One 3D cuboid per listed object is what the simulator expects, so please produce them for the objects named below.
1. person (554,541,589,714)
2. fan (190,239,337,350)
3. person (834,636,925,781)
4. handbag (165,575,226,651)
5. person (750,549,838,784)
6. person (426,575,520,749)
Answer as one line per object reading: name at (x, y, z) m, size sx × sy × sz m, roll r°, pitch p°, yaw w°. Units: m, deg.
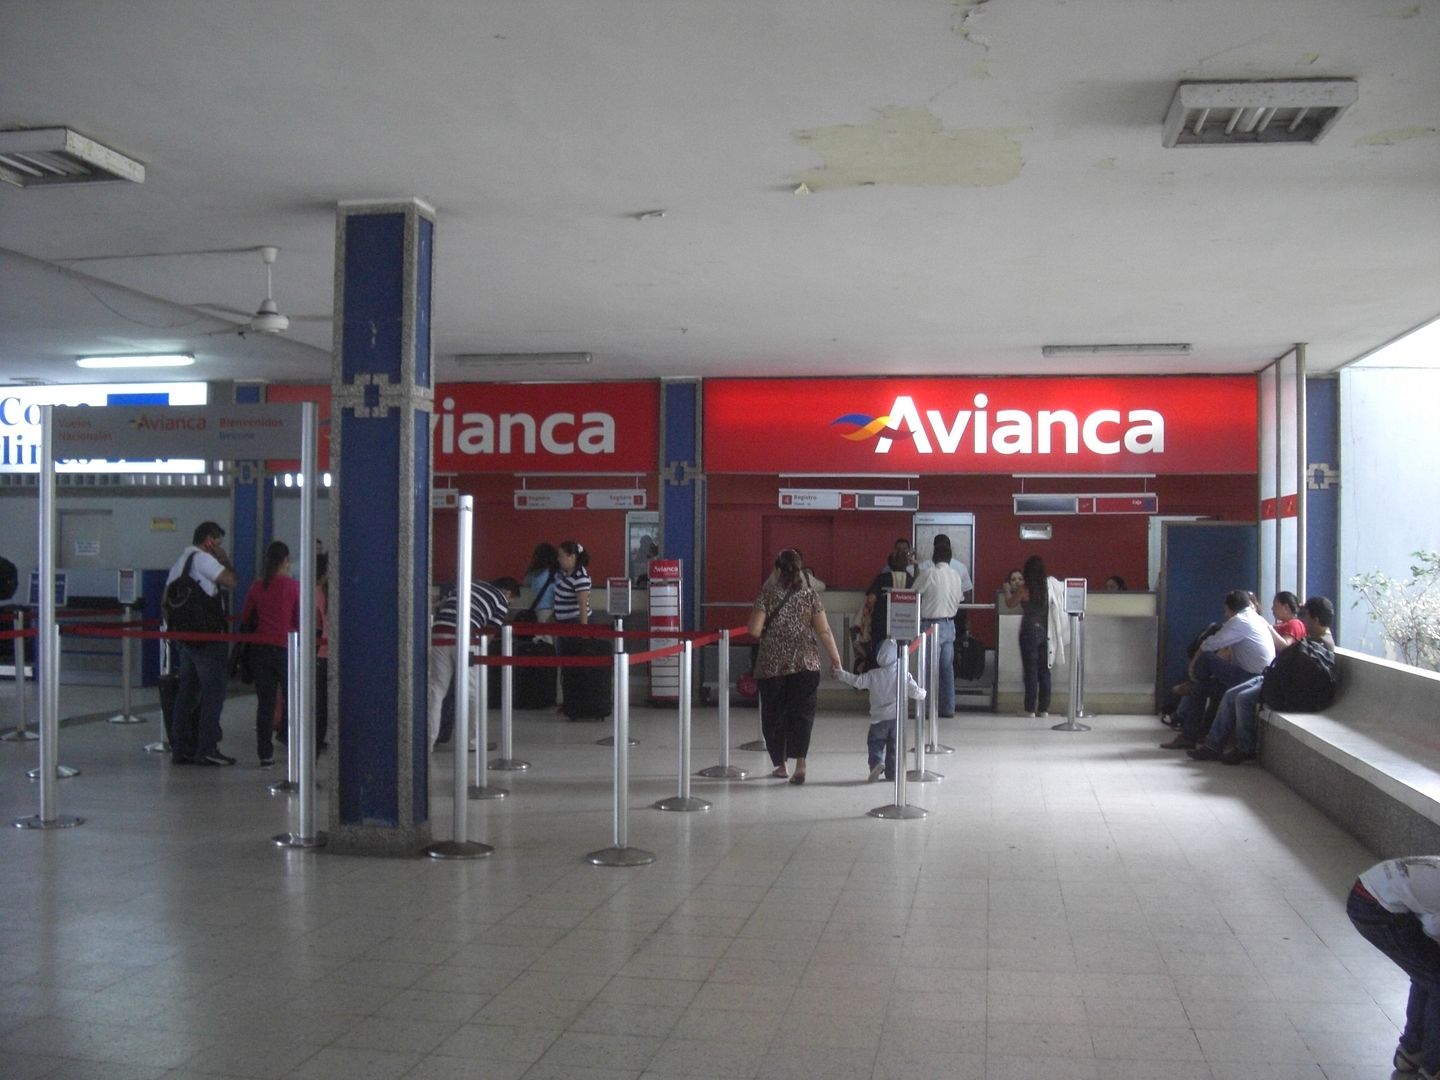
person at (-1.401, 0.866, 11.940) m, size 0.345 × 1.686 × 1.059 m, roll -1°, pitch -4°, yaw -8°
fan at (-3.687, -1.921, 10.103) m, size 0.775 × 0.393 × 0.752 m, roll 4°, pitch -4°, yaw -33°
person at (1.165, 1.210, 8.942) m, size 0.580 × 1.053 × 1.110 m, roll -2°, pitch -3°, yaw 8°
handbag at (-3.849, 0.514, 9.242) m, size 0.438 × 0.544 × 1.078 m, roll 0°, pitch -4°, yaw -22°
person at (0.552, 0.912, 9.026) m, size 0.566 × 1.674 × 0.787 m, roll -1°, pitch -4°, yaw 1°
person at (-1.910, 0.958, 9.773) m, size 0.688 × 1.391 × 2.930 m, roll -1°, pitch -3°, yaw -9°
